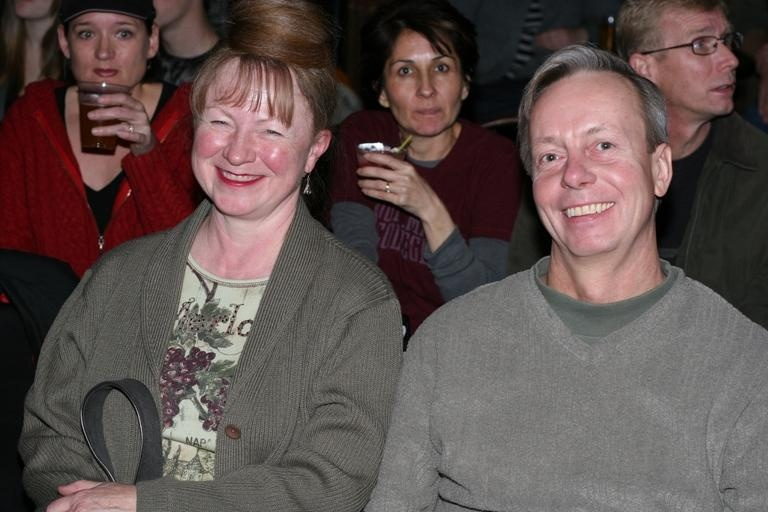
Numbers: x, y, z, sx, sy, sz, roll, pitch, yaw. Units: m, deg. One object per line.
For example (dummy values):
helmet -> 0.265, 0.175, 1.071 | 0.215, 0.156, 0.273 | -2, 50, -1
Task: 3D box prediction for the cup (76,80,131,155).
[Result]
cup -> -1.540, -0.738, 4.375 | 0.350, 0.390, 0.366 | 3, 1, 0
